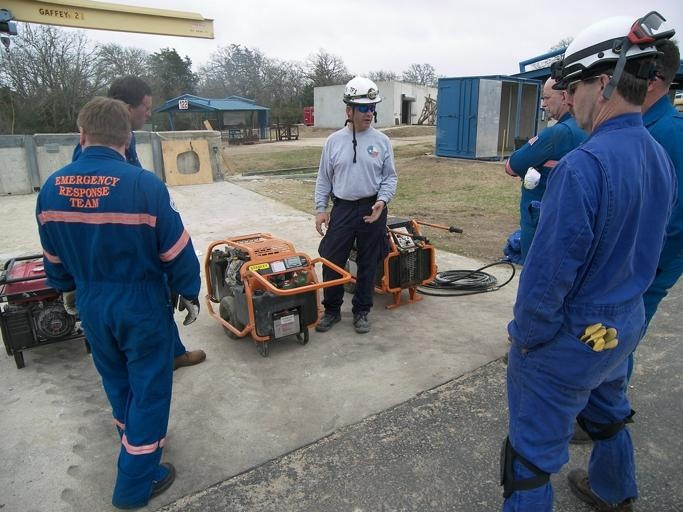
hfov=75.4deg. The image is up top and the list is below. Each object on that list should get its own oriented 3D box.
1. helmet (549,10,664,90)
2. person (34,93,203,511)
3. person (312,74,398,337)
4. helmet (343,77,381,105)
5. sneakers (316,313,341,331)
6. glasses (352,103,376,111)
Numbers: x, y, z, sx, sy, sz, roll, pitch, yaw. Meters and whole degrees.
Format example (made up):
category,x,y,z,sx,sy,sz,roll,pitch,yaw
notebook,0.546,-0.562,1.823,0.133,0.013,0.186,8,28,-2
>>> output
category,x,y,z,sx,sy,sz,roll,pitch,yaw
helmet,1.183,-0.891,1.984,0.456,0.363,0.260,8,18,31
person,-1.305,0.227,2.599,0.782,2.248,0.752,10,20,34
person,0.116,-0.469,4.240,0.781,2.368,0.614,0,16,4
helmet,0.176,-1.508,4.019,0.322,0.261,0.366,-1,15,0
sneakers,-0.120,0.654,4.399,0.105,0.122,0.306,0,4,31
glasses,0.198,-1.354,4.064,0.171,0.076,0.091,-6,16,-20
